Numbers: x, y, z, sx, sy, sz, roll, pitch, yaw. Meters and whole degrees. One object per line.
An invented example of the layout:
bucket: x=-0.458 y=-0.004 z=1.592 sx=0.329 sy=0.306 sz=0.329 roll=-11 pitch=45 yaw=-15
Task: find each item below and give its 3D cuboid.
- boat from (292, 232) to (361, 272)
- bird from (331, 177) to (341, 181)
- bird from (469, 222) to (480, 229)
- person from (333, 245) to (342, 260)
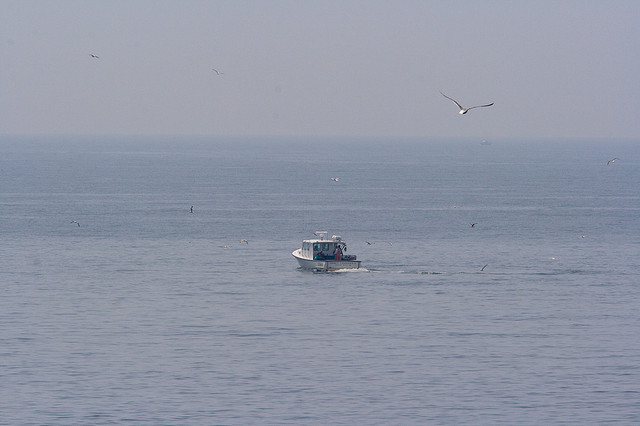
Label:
boat: x=0.366 y=4.633 z=174.547 sx=7.170 sy=3.872 sz=3.865 roll=9 pitch=10 yaw=41
bird: x=2.630 y=-6.606 z=272.806 sx=1.835 sy=0.657 sz=1.636 roll=-1 pitch=-4 yaw=-26
bird: x=21.861 y=1.599 z=207.311 sx=1.191 sy=0.650 sz=0.516 roll=-4 pitch=48 yaw=-47
person: x=2.008 y=4.542 z=174.192 sx=0.853 sy=1.551 sz=1.586 roll=2 pitch=8 yaw=-8
